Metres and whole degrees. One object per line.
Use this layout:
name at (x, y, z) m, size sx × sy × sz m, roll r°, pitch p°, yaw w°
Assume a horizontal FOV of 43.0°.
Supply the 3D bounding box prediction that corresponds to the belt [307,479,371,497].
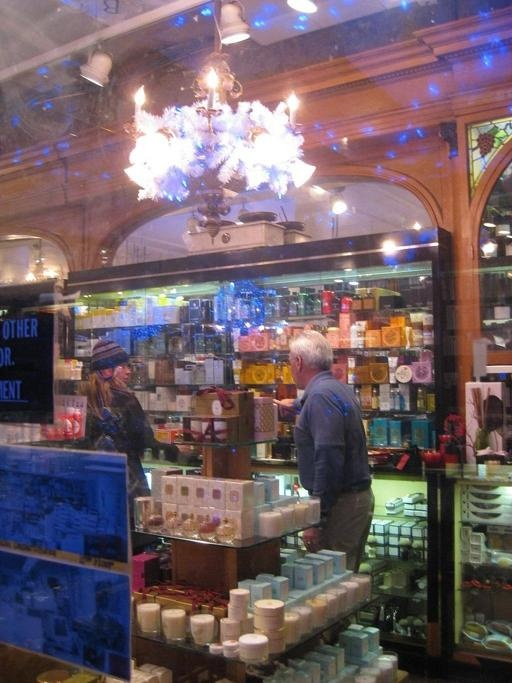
belt at (0.300, 0.540, 2.387) m, size 0.152 × 0.048 × 0.109 m, roll -5°, pitch 1°, yaw -29°

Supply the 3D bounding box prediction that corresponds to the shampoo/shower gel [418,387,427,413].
shampoo/shower gel at (0.959, 0.342, 3.753) m, size 0.036 × 0.144 × 0.087 m, roll -1°, pitch -2°, yaw -32°

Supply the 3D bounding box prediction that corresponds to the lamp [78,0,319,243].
lamp at (-0.180, -0.576, 2.102) m, size 0.662 × 0.930 × 0.656 m, roll 5°, pitch 10°, yaw 37°

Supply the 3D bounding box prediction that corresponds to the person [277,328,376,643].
person at (0.244, 0.423, 2.432) m, size 0.317 × 0.934 × 0.504 m, roll -3°, pitch -2°, yaw 18°

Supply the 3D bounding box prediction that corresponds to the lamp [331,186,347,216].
lamp at (0.574, -0.968, 4.465) m, size 0.115 × 0.211 × 0.046 m, roll -3°, pitch -2°, yaw 32°
